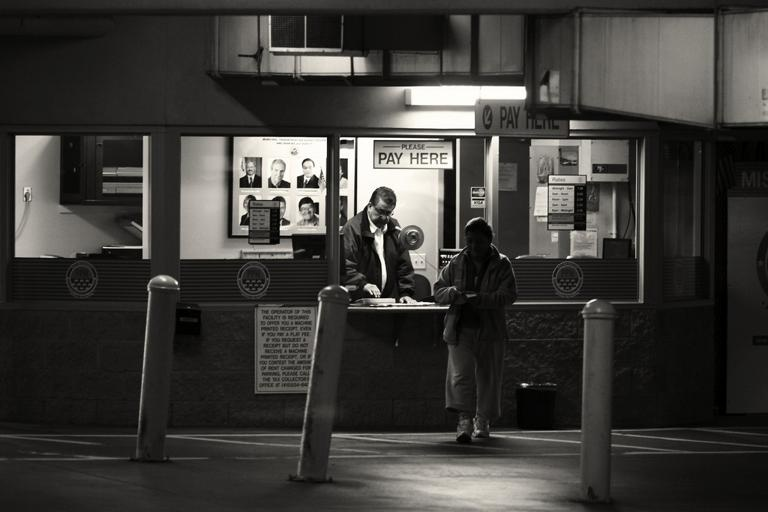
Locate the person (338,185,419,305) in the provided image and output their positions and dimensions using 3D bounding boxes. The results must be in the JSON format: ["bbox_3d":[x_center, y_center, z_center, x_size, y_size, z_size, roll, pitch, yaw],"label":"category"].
[{"bbox_3d":[-0.084,-0.053,12.342,0.601,1.815,0.588,0,-1,-3],"label":"person"}]

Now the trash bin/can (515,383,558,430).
[{"bbox_3d":[1.757,1.761,11.687,0.445,0.344,0.269,1,0,6],"label":"trash bin/can"}]

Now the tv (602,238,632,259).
[{"bbox_3d":[2.813,-0.084,12.098,0.363,0.231,0.062,1,-1,-4],"label":"tv"}]
